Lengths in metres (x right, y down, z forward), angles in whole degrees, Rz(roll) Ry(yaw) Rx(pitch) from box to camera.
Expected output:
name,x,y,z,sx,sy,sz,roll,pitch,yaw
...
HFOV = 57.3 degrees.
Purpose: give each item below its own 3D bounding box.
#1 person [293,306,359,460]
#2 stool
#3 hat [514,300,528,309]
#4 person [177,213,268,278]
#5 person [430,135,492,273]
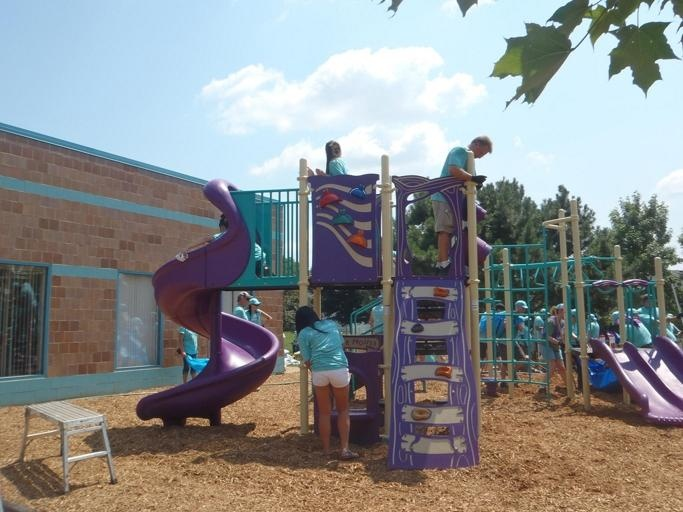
name,x,y,z,sx,sy,sz,roll,pitch,yaw
person,-0.209,1.666,8.359,0.911,1.950,0.486,5,7,42
stool,-3.541,2.318,7.955,1.337,0.827,0.620,3,3,40
hat,3.820,0.983,13.281,0.246,0.157,0.204,6,3,17
person,-1.730,-0.204,9.735,1.209,0.926,0.648,-1,6,-3
person,1.687,-0.778,8.986,0.789,1.917,1.242,1,6,10
